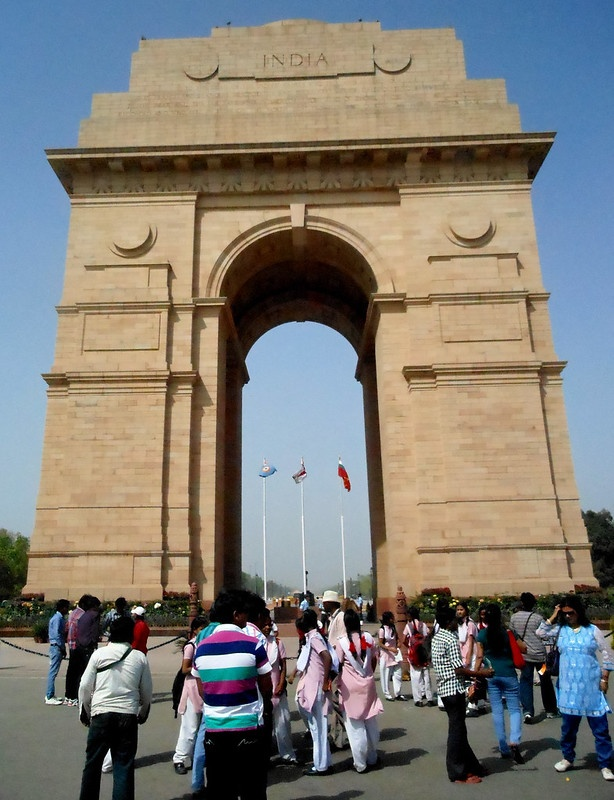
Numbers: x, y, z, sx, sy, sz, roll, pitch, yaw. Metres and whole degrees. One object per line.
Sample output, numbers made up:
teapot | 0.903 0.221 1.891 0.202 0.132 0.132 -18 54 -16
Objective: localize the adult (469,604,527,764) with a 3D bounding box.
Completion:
adult | 2.167 3.208 7.293 0.740 1.622 0.565 -15 -21 42

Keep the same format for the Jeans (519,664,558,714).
Jeans | 3.436 4.188 9.419 0.515 1.131 0.267 -4 13 21

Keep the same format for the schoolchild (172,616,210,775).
schoolchild | -1.239 3.214 6.982 0.541 1.510 0.488 1 -18 -1

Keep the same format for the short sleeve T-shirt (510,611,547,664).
short sleeve T-shirt | 3.286 3.477 9.327 0.572 0.665 0.387 -7 -17 35

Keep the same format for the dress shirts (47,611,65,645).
dress shirts | -4.297 3.967 10.963 0.245 0.568 0.465 6 -17 -28

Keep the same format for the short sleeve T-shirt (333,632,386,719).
short sleeve T-shirt | 0.615 3.135 7.222 0.490 0.875 0.345 -1 -18 -6

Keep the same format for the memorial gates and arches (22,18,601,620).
memorial gates and arches | -0.161 -4.606 24.395 16.901 24.384 5.262 -2 -16 0

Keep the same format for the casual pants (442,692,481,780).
casual pants | 1.598 3.491 6.589 0.358 0.785 0.338 -6 -16 13

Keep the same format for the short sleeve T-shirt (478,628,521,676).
short sleeve T-shirt | 2.169 2.864 7.162 0.601 0.549 0.326 -7 -16 25

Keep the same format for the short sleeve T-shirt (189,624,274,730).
short sleeve T-shirt | -0.535 1.889 4.341 0.567 0.657 0.331 -5 -13 9

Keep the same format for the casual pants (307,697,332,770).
casual pants | 0.128 3.656 6.992 0.240 0.808 0.242 -2 -16 0

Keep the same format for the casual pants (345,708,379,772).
casual pants | 0.633 3.800 7.063 0.501 0.587 0.256 10 -20 -37
